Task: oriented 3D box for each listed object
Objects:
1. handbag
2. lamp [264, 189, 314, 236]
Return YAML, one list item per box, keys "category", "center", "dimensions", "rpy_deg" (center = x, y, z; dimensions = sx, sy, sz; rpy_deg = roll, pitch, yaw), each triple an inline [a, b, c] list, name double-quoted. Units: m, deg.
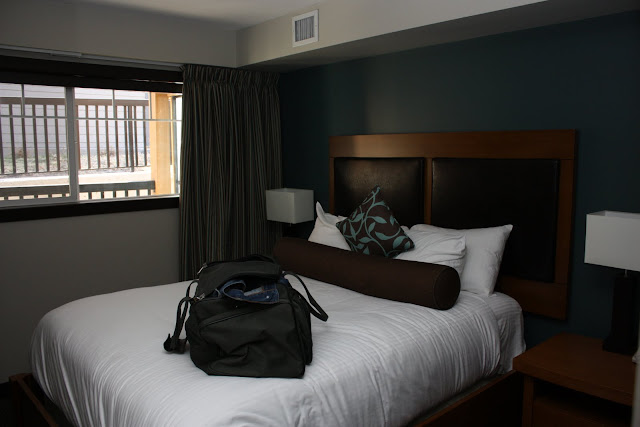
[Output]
- category: "handbag"
  center: [-0.462, 0.629, 2.643]
  dimensions: [0.708, 0.295, 0.732]
  rpy_deg: [1, 42, 7]
- category: "lamp"
  center: [-0.353, -0.080, 5.101]
  dimensions: [0.529, 0.538, 0.386]
  rpy_deg: [4, 9, 23]
